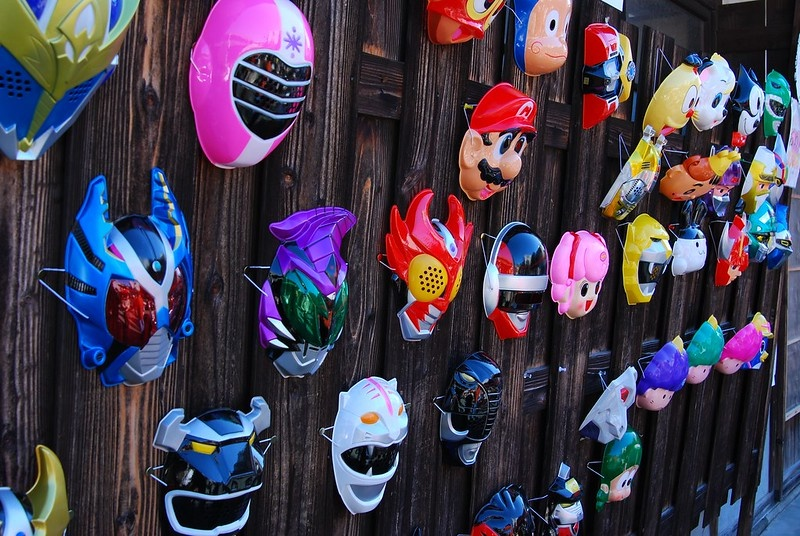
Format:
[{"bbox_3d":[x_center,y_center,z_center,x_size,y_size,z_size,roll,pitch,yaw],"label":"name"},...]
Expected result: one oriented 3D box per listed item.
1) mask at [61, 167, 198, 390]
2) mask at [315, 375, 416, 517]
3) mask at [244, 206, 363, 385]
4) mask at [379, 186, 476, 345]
[{"bbox_3d":[-0.765,0.022,2.520,0.164,0.732,0.430,5,9,41],"label":"mask"},{"bbox_3d":[-0.093,0.582,2.979,0.299,0.533,0.202,-14,23,-39],"label":"mask"},{"bbox_3d":[-0.310,0.074,2.764,0.410,0.732,0.199,1,-1,-40],"label":"mask"},{"bbox_3d":[0.076,-0.021,2.992,0.182,0.724,0.392,8,6,42],"label":"mask"}]
